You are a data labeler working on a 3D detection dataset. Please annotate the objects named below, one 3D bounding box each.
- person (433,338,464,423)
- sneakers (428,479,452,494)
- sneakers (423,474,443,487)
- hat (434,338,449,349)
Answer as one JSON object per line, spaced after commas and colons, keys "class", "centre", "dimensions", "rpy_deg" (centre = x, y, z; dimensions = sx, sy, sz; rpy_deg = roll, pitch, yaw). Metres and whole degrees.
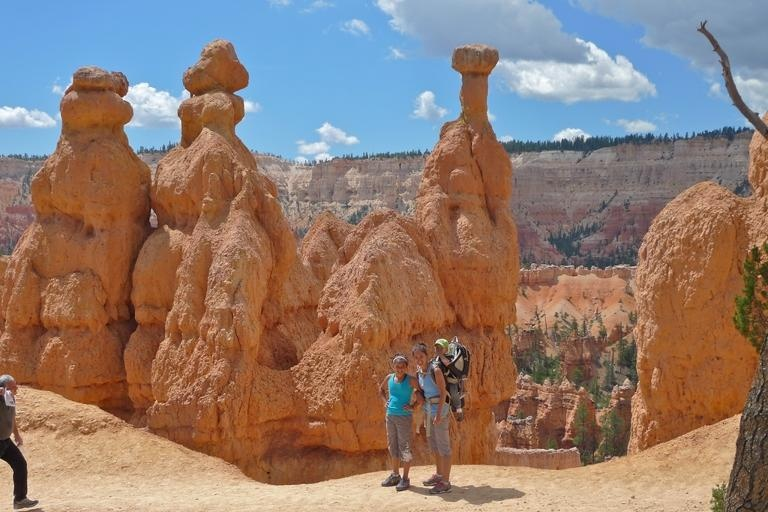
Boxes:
{"class": "person", "centre": [1.606, 2.826, 29.281], "dimensions": [0.750, 1.239, 0.557], "rpy_deg": [-3, -2, 2]}
{"class": "sneakers", "centre": [1.318, 5.280, 29.371], "dimensions": [0.547, 0.308, 0.240], "rpy_deg": [4, -5, -23]}
{"class": "sneakers", "centre": [1.180, 5.185, 29.559], "dimensions": [0.494, 0.262, 0.200], "rpy_deg": [-1, 0, 8]}
{"class": "hat", "centre": [1.363, 2.007, 29.316], "dimensions": [0.245, 0.137, 0.191], "rpy_deg": [17, 3, 21]}
